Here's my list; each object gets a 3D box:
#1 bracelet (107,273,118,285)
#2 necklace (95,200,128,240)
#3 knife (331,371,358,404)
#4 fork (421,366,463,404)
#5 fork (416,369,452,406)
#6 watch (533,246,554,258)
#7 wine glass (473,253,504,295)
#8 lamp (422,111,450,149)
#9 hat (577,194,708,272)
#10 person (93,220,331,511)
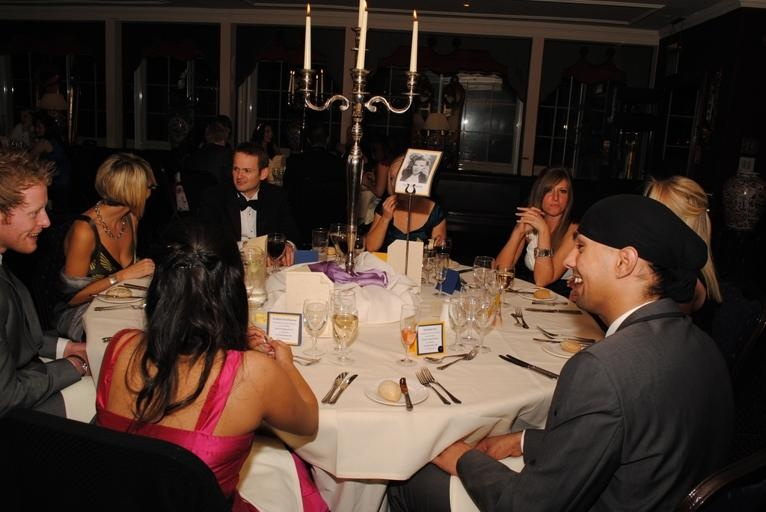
[{"bbox_3d":[-1.375,0.121,2.775,0.036,0.057,0.056,-3,45,-35],"label":"bracelet"},{"bbox_3d":[-1.474,-0.196,2.992,0.037,0.189,0.150,-5,3,28],"label":"necklace"},{"bbox_3d":[-0.141,0.465,1.941,0.032,0.015,0.145,15,25,16],"label":"knife"},{"bbox_3d":[0.205,0.472,1.998,0.050,0.046,0.302,-10,23,-18],"label":"fork"},{"bbox_3d":[0.185,0.468,1.996,0.047,0.029,0.198,-14,37,-16],"label":"fork"},{"bbox_3d":[0.946,-0.021,3.202,0.078,0.058,0.085,3,1,-4],"label":"watch"},{"bbox_3d":[0.482,0.080,2.646,0.140,0.247,0.157,0,-2,-1],"label":"wine glass"},{"bbox_3d":[0.730,-1.651,7.186,0.394,0.470,0.377,1,12,-16],"label":"lamp"},{"bbox_3d":[0.836,-0.037,1.780,0.315,0.122,0.239,26,22,16],"label":"hat"},{"bbox_3d":[-0.554,0.389,1.814,0.537,1.040,0.586,22,44,7],"label":"person"}]
